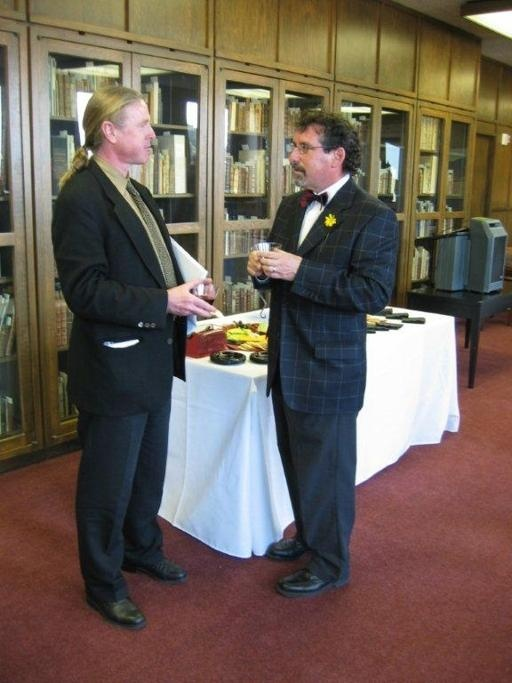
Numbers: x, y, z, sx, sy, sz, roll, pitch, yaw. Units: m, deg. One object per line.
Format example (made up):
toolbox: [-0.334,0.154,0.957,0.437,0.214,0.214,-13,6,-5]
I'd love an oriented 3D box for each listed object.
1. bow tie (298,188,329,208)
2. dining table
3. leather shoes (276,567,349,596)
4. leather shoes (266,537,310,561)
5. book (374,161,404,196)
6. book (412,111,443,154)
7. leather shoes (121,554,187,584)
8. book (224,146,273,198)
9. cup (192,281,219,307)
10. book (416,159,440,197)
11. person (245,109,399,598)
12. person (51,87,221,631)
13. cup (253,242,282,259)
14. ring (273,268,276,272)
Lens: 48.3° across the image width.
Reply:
bow tie: [0.211,-0.492,1.986,0.132,0.059,0.052,4,0,42]
dining table: [0.374,0.262,2.841,0.885,0.637,1.612,9,15,41]
leather shoes: [0.219,0.872,2.121,0.271,0.114,0.100,2,4,-10]
leather shoes: [0.128,0.831,2.307,0.172,0.067,0.080,1,8,-12]
book: [1.332,-1.661,5.774,0.214,0.361,0.383,13,22,33]
book: [1.863,-2.299,6.235,0.231,0.404,0.430,15,31,33]
leather shoes: [-0.372,0.854,2.187,0.253,0.113,0.092,4,17,9]
book: [-0.059,-1.253,4.247,0.127,0.368,0.373,9,18,17]
cup: [-0.155,-0.155,1.771,0.074,0.076,0.108,1,10,0]
book: [1.936,-1.864,6.447,0.265,0.424,0.436,6,12,29]
person: [0.209,0.068,2.021,0.517,1.703,0.406,6,11,27]
person: [-0.400,0.058,1.865,0.472,1.735,0.422,-3,11,-25]
cup: [0.035,-0.307,1.928,0.074,0.053,0.067,6,10,37]
ring: [0.061,-0.229,1.834,0.011,0.011,0.008,1,10,-2]
